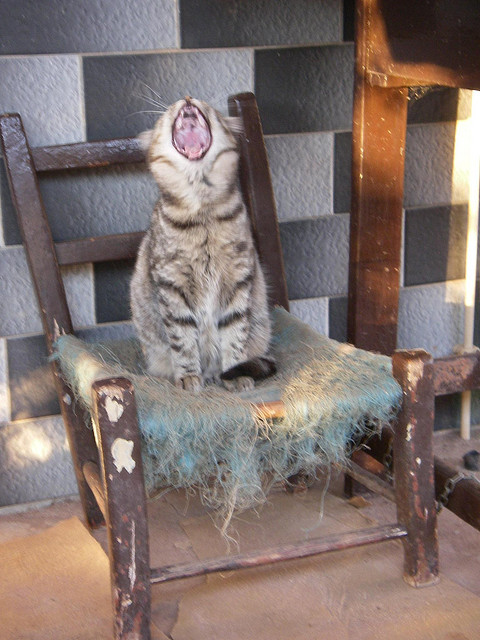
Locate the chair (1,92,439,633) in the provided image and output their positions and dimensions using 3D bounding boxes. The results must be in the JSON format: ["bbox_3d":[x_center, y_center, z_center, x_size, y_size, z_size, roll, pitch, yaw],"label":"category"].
[{"bbox_3d":[-0.002,0.008,1.123,0.680,0.936,0.631,-8,9,-25],"label":"chair"}]
